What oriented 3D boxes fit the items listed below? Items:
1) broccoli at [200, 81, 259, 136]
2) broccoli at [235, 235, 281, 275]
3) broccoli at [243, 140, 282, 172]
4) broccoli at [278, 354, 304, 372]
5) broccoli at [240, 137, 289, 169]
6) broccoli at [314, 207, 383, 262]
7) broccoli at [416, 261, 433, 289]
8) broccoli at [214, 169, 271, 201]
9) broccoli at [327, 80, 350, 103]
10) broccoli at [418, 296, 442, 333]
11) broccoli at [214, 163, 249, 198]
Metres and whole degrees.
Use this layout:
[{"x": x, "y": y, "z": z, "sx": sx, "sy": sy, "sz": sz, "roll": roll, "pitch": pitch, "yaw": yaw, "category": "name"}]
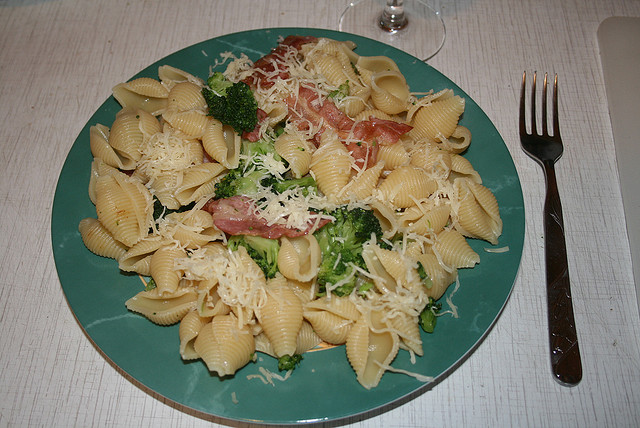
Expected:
[{"x": -0.550, "y": -0.674, "z": 3.830, "sx": 0.284, "sy": 0.175, "sz": 0.344, "roll": 21, "pitch": 67, "yaw": -13, "category": "broccoli"}, {"x": -0.350, "y": 0.220, "z": 3.715, "sx": 0.181, "sy": 0.067, "sz": 0.266, "roll": -43, "pitch": 85, "yaw": -9, "category": "broccoli"}, {"x": -0.379, "y": -0.365, "z": 3.857, "sx": 0.178, "sy": 0.063, "sz": 0.195, "roll": -20, "pitch": 64, "yaw": -26, "category": "broccoli"}, {"x": -0.190, "y": 0.867, "z": 3.551, "sx": 0.100, "sy": 0.029, "sz": 0.106, "roll": -4, "pitch": 96, "yaw": -19, "category": "broccoli"}, {"x": -0.376, "y": -0.419, "z": 3.866, "sx": 0.230, "sy": 0.070, "sz": 0.198, "roll": 0, "pitch": 77, "yaw": 0, "category": "broccoli"}, {"x": 0.149, "y": 0.114, "z": 3.772, "sx": 0.295, "sy": 0.128, "sz": 0.356, "roll": -2, "pitch": 91, "yaw": 6, "category": "broccoli"}, {"x": 0.624, "y": 0.372, "z": 3.662, "sx": 0.053, "sy": 0.015, "sz": 0.226, "roll": -16, "pitch": 71, "yaw": -11, "category": "broccoli"}, {"x": -0.498, "y": -0.201, "z": 3.767, "sx": 0.235, "sy": 0.061, "sz": 0.177, "roll": 2, "pitch": 63, "yaw": -8, "category": "broccoli"}, {"x": 0.132, "y": -0.794, "z": 3.955, "sx": 0.090, "sy": 0.040, "sz": 0.141, "roll": 9, "pitch": 96, "yaw": 0, "category": "broccoli"}, {"x": 0.644, "y": 0.594, "z": 3.639, "sx": 0.129, "sy": 0.244, "sz": 0.048, "roll": 25, "pitch": 34, "yaw": 25, "category": "broccoli"}, {"x": -0.562, "y": -0.200, "z": 3.803, "sx": 0.144, "sy": 0.110, "sz": 0.268, "roll": 11, "pitch": 72, "yaw": -10, "category": "broccoli"}]
